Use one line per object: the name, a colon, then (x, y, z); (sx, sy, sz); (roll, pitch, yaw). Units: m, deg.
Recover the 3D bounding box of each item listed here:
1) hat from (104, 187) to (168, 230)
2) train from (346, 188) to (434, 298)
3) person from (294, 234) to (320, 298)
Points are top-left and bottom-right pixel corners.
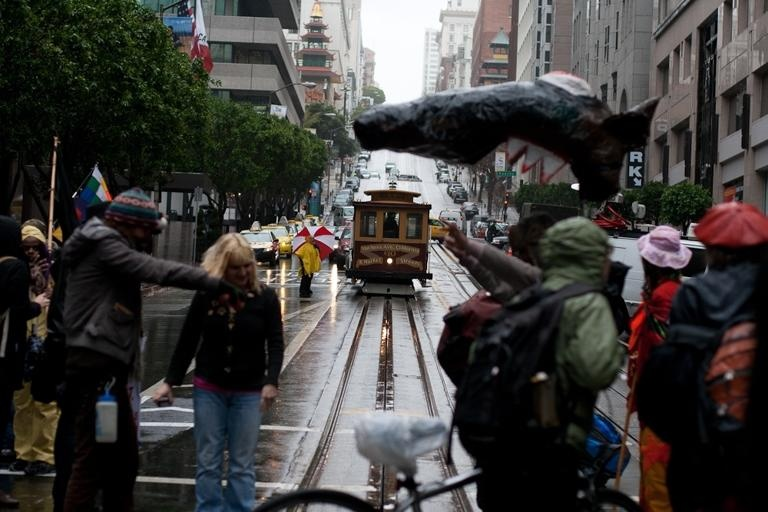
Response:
hat: (-2.047, -0.383, 7.526); (0.417, 0.299, 0.301); (13, 2, -22)
train: (0.167, -0.415, 29.412); (2.073, 2.944, 3.532); (0, -3, -1)
person: (-2.303, 0.290, 27.199); (0.737, 1.442, 1.890); (2, 0, -5)
